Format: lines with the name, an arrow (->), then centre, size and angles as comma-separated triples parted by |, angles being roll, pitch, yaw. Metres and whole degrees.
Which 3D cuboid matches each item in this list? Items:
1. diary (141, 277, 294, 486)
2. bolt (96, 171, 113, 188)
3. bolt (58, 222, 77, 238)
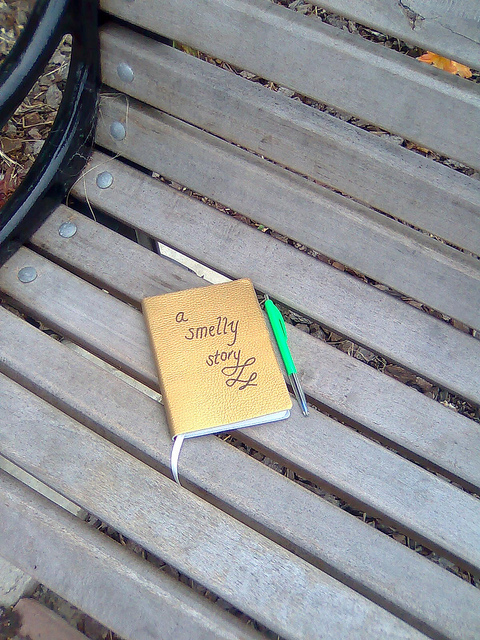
diary -> -0.045, 0.057, 1.092 | 0.200, 0.060, 0.261 | -15, 73, -4
bolt -> -0.265, -0.274, 1.277 | 0.031, 0.007, 0.030 | -39, 78, -2
bolt -> -0.328, -0.172, 1.245 | 0.032, 0.006, 0.030 | 32, 73, 15
